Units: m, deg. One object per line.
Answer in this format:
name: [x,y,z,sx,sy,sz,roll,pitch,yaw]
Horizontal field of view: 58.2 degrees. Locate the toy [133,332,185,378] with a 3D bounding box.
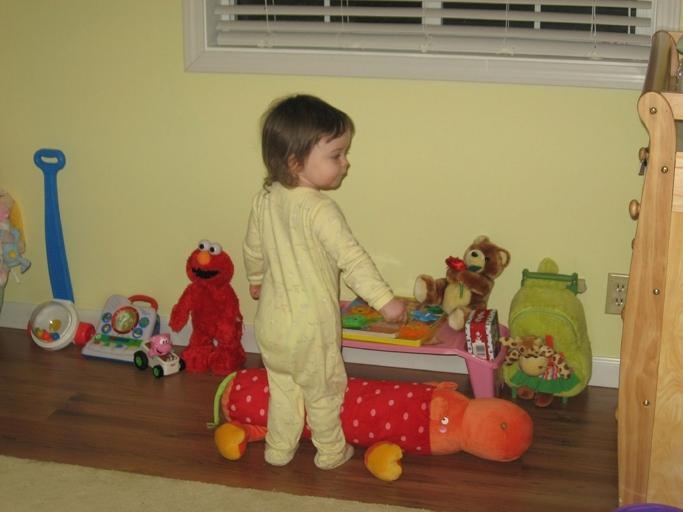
toy: [-0.807,0.432,2.810,0.196,0.205,0.164,17,21,28]

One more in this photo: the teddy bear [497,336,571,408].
teddy bear: [0.779,0.464,2.479,0.199,0.225,0.130,-7,33,27]

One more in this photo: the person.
person: [-0.084,0.098,2.154,0.623,1.284,0.256,4,6,13]

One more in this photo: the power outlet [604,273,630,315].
power outlet: [1.150,0.161,2.597,0.075,0.182,0.041,7,7,37]

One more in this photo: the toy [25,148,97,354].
toy: [-1.366,-0.030,2.985,0.293,0.959,0.184,4,6,14]

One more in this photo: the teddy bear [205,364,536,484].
teddy bear: [0.114,0.613,2.266,1.001,0.265,0.471,1,34,9]
